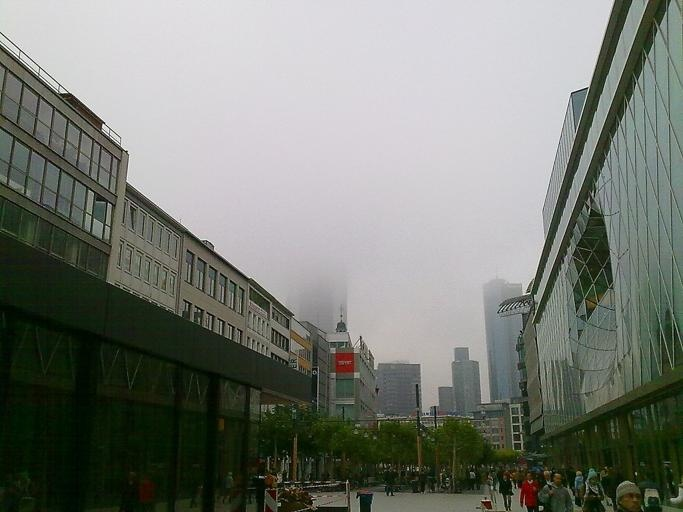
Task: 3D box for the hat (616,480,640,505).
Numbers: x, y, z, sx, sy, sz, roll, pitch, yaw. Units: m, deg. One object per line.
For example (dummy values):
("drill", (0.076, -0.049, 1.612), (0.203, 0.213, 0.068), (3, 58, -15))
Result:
("hat", (3.676, 3.028, 7.388), (0.250, 0.319, 0.381), (8, -5, 29))
